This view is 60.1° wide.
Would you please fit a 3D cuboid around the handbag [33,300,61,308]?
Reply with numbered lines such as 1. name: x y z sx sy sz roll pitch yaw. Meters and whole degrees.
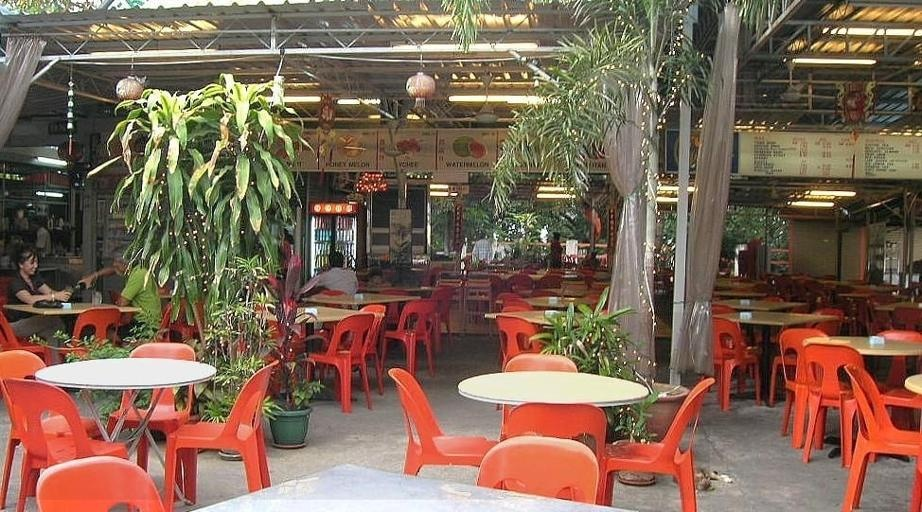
1. handbag: -5.949 0.699 11.373 0.250 0.071 0.173 7 -8 -32

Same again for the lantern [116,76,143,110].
1. lantern: -5.039 -2.555 12.041 0.295 0.441 0.484 0 1 -41

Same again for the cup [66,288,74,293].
1. cup: -6.347 0.558 12.789 0.106 0.075 0.104 0 -11 0
